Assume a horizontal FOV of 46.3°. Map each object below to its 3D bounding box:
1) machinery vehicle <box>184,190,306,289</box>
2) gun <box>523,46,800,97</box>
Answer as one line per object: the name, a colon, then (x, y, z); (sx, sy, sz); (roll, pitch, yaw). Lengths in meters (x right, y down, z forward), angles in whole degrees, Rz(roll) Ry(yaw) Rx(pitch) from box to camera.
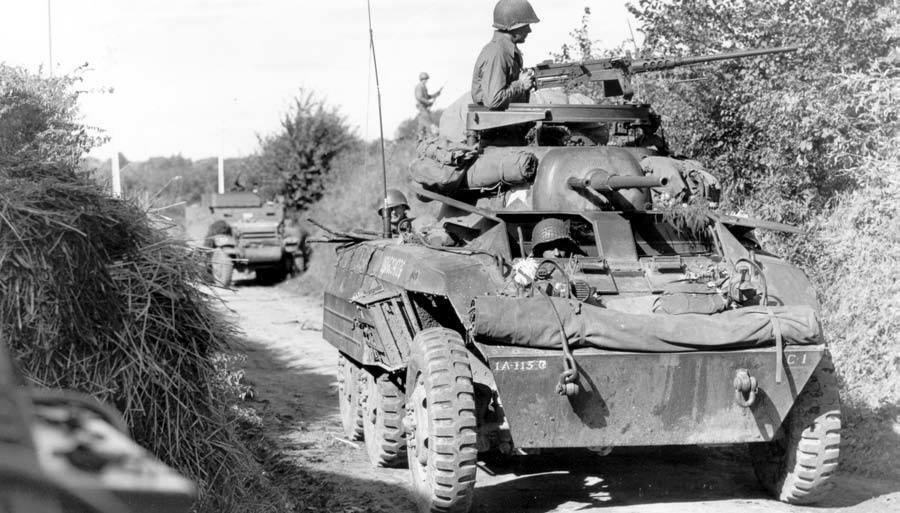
machinery vehicle: (-5.952, -0.668, 30.200); (2.504, 2.470, 4.529); (-3, 9, -21)
gun: (2.849, -2.540, 14.506); (3.623, 0.642, 0.523); (-3, 40, 14)
